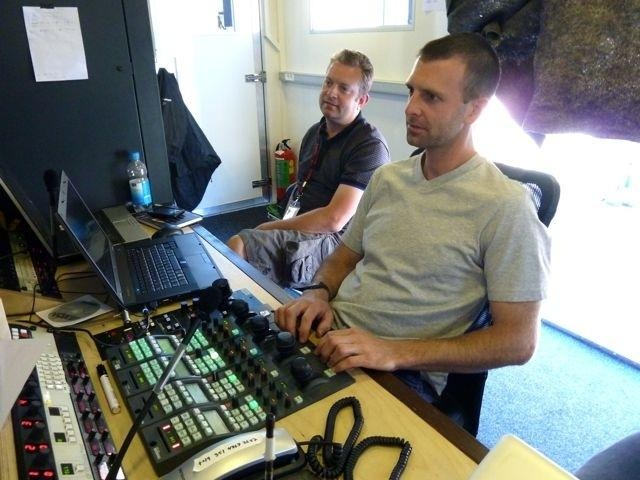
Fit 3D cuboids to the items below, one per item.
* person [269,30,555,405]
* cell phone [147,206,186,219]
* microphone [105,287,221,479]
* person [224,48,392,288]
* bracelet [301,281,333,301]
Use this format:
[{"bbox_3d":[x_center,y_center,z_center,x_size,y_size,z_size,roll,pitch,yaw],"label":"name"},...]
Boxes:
[{"bbox_3d":[0.292,-0.058,1.648,0.837,1.076,0.634,17,18,42],"label":"person"},{"bbox_3d":[-0.682,-0.122,2.258,0.086,0.026,0.087,15,21,36],"label":"cell phone"},{"bbox_3d":[-0.394,0.372,1.286,0.084,0.525,0.167,39,25,19],"label":"microphone"},{"bbox_3d":[-0.154,-0.274,2.573,0.963,1.250,0.680,-8,22,-37],"label":"person"},{"bbox_3d":[-0.015,0.164,1.826,0.085,0.060,0.096,9,5,7],"label":"bracelet"}]
